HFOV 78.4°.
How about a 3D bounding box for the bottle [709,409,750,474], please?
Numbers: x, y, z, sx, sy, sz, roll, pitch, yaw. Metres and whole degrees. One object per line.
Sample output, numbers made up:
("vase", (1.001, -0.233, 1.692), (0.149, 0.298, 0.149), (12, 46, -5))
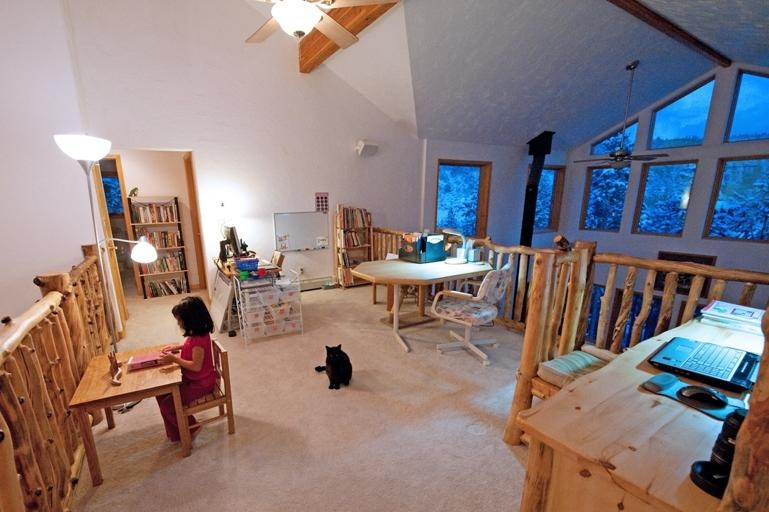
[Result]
("bottle", (2.372, 1.241, 3.219), (0.218, 0.431, 0.169), (-6, 11, -23))

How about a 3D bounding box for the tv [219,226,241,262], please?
("tv", (-2.193, -0.135, 6.809), (0.333, 0.539, 0.511), (6, 13, -16))

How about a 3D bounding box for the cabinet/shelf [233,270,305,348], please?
("cabinet/shelf", (-1.533, 0.645, 6.422), (1.029, 0.948, 0.810), (-6, 9, -32))

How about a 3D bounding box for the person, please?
("person", (-1.961, 1.171, 4.768), (0.623, 1.414, 0.557), (-7, 7, -26))

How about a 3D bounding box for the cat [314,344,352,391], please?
("cat", (-0.549, 1.250, 5.371), (0.476, 0.357, 0.466), (-1, 0, 4))

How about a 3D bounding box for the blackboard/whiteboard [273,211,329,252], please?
("blackboard/whiteboard", (-1.408, -0.412, 7.749), (0.729, 0.494, 0.024), (-10, 20, -32))

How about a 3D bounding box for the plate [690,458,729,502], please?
("plate", (2.219, 1.511, 3.246), (0.241, 0.054, 0.229), (-2, 16, -4))

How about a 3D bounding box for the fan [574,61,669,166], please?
("fan", (3.890, -2.278, 7.677), (1.488, 1.594, 1.277), (-3, 14, -8))

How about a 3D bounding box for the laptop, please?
("laptop", (2.548, 0.844, 3.748), (0.573, 0.163, 0.428), (18, 32, 40))

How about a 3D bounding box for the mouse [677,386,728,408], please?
("mouse", (2.370, 1.051, 3.528), (0.229, 0.062, 0.171), (0, 9, 22))

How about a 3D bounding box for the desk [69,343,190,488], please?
("desk", (-2.458, 1.461, 4.894), (1.167, 1.011, 1.121), (-8, 16, -24))

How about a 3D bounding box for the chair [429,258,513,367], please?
("chair", (1.055, 0.651, 5.962), (1.035, 1.117, 1.051), (-5, 7, -26))

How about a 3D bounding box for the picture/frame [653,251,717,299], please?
("picture/frame", (5.825, 0.306, 9.209), (0.932, 0.885, 1.047), (4, 11, 31))

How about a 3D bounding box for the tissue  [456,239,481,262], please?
("tissue ", (1.156, -0.074, 6.457), (0.257, 0.348, 0.348), (-8, 14, -44))

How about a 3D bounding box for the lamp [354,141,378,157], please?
("lamp", (-0.267, -1.831, 8.039), (0.443, 0.255, 0.267), (-5, 10, -19))

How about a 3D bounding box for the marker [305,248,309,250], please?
("marker", (-1.290, -0.116, 7.893), (0.042, 0.039, 0.010), (-2, 11, -41))

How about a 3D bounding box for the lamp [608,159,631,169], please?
("lamp", (3.574, -1.405, 7.199), (0.229, 0.113, 0.280), (4, 10, 34))
